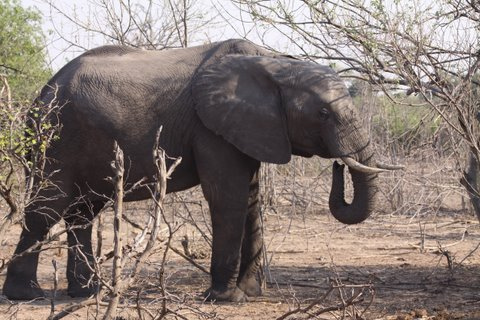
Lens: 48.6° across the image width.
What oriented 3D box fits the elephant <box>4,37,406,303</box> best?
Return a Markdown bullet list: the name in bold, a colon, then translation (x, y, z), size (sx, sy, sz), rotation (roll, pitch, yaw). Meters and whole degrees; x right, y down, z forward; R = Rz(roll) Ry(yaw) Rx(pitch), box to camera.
- **elephant**: translation (-0.577, 0.266, 7.555), size (4.440, 3.152, 2.151), rotation (0, -5, 2)
